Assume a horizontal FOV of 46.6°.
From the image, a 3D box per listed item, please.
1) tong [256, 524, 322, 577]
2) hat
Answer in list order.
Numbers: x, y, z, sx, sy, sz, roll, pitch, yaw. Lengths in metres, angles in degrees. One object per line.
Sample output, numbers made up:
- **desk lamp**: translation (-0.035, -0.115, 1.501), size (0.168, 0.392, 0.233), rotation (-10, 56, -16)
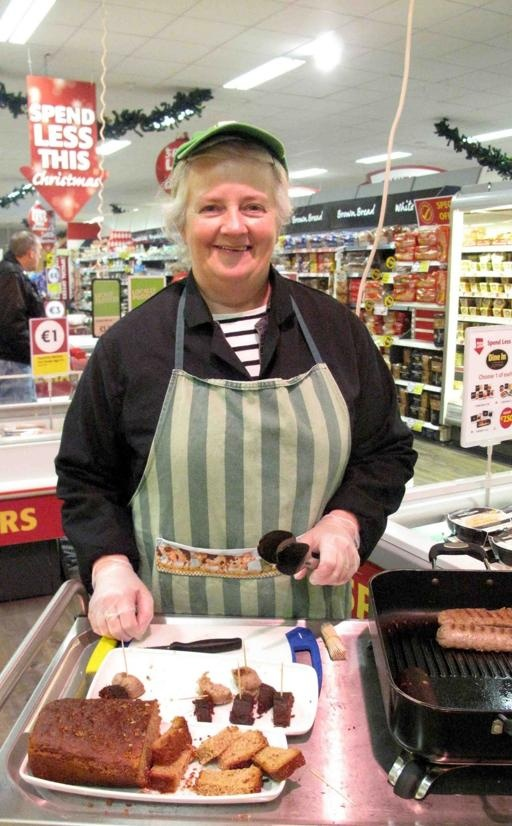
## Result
- **tong**: translation (0.068, 0.233, 1.026), size (0.059, 0.065, 0.117), rotation (34, 2, 2)
- **hat**: translation (-0.047, -0.541, 1.206), size (0.241, 0.070, 0.159), rotation (0, 6, -7)
